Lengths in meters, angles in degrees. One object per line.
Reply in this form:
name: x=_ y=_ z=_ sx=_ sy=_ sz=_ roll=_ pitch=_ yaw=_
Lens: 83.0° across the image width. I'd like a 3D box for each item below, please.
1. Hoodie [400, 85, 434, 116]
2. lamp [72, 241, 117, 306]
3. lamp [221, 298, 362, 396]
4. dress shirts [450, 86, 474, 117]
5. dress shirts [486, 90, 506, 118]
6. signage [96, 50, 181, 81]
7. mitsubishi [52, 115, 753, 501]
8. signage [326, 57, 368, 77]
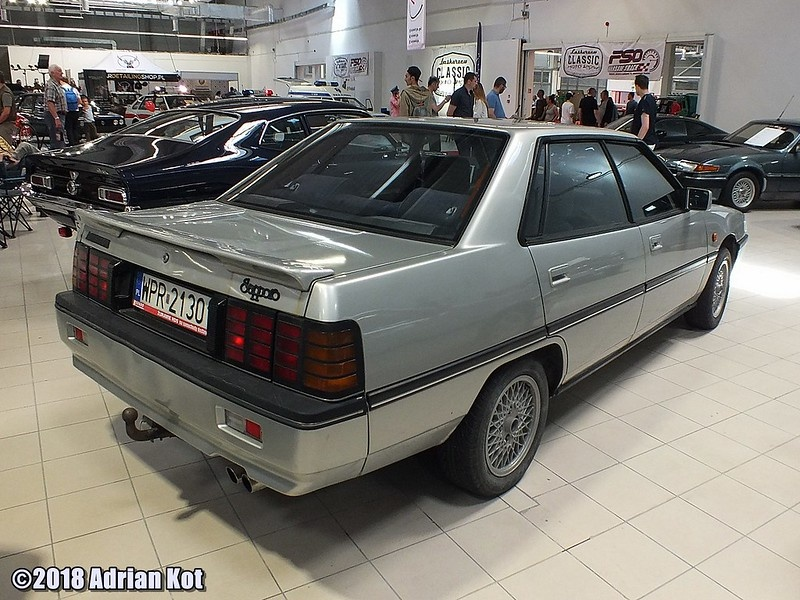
Hoodie: x=0.332 y=-4.071 z=9.186 sx=0.658 sy=0.535 sz=0.477 roll=0 pitch=22 yaw=-1
lamp: x=-1.480 y=-0.131 z=2.184 sx=0.260 sy=0.170 sz=0.145 roll=25 pitch=24 yaw=34
lamp: x=-0.401 y=0.155 z=1.597 sx=0.563 sy=0.259 sz=0.164 roll=12 pitch=25 yaw=25
dress shirts: x=1.291 y=-3.970 z=8.980 sx=0.581 sy=0.530 sz=0.377 roll=-14 pitch=26 yaw=-31
dress shirts: x=2.327 y=-4.772 z=10.939 sx=0.394 sy=0.602 sz=1.253 roll=4 pitch=23 yaw=10
signage: x=-13.378 y=-11.611 z=22.680 sx=2.580 sy=0.963 sz=2.520 roll=-8 pitch=23 yaw=-14
mitsubishi: x=0.087 y=-0.060 z=2.611 sx=3.354 sy=1.820 sz=1.574 roll=-16 pitch=27 yaw=-34
signage: x=-2.654 y=-12.008 z=23.112 sx=0.022 sy=0.857 sz=2.354 roll=-17 pitch=26 yaw=-31
